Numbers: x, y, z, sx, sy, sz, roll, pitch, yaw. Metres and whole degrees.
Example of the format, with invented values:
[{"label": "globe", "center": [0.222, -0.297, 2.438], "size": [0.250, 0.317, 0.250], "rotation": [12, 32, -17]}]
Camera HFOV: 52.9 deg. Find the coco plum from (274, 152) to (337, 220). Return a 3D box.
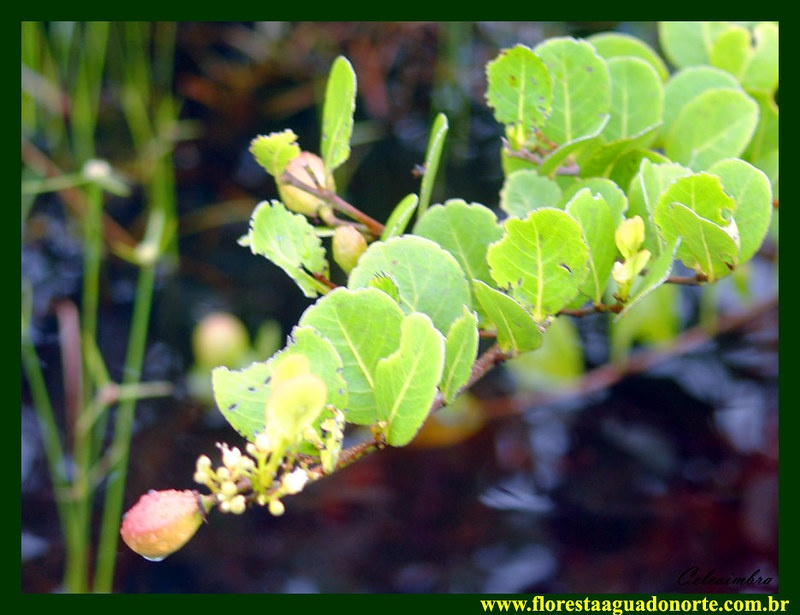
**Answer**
[{"label": "coco plum", "center": [-0.119, -0.157, 0.992], "size": [0.082, 0.073, 0.062], "rotation": [26, 32, 29]}]
